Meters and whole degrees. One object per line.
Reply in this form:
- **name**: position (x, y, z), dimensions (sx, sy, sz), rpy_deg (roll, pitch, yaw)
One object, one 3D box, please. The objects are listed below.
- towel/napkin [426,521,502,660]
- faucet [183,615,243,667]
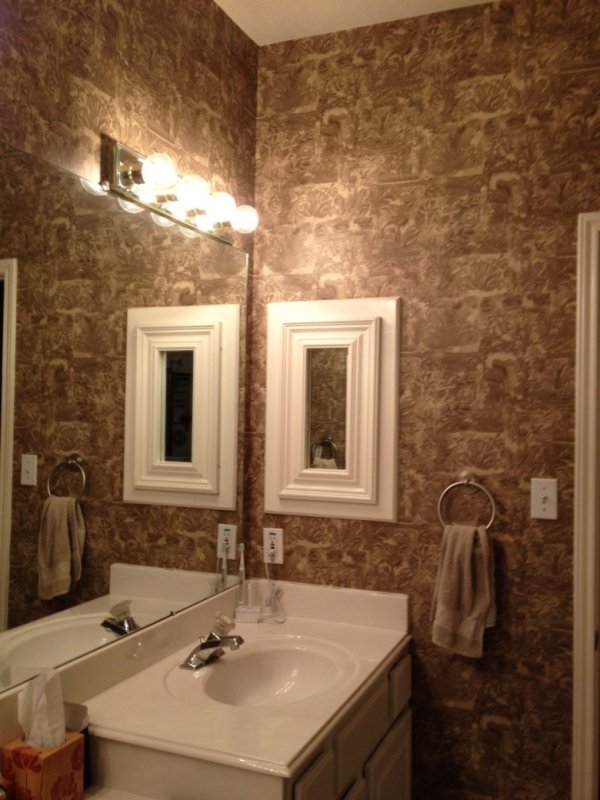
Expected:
- **towel/napkin**: position (0.447, 0.514, 1.717), dimensions (0.158, 0.339, 0.055), rpy_deg (2, -5, 15)
- **faucet**: position (-0.209, 0.581, 1.523), dimensions (0.115, 0.086, 0.080), rpy_deg (3, -5, 7)
